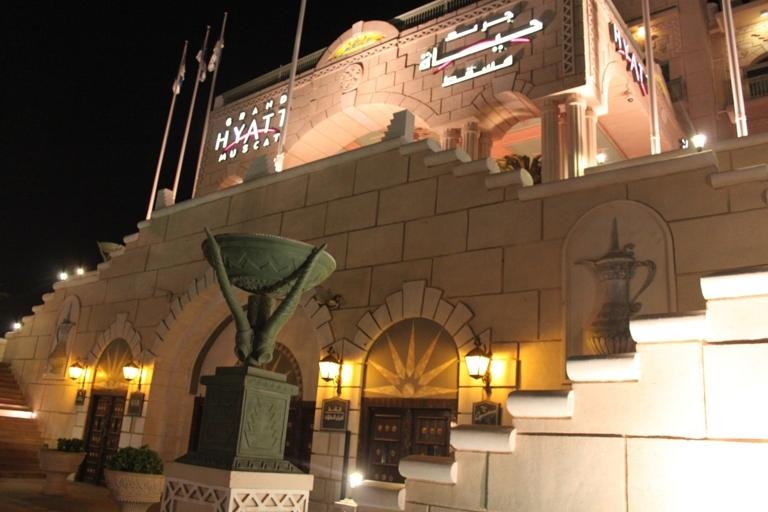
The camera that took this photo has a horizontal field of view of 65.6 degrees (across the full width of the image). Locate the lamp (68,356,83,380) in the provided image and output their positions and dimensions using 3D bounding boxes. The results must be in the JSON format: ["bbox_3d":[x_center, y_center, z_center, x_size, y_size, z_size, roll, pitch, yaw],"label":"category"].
[{"bbox_3d":[-9.831,3.602,19.022,0.451,0.623,0.318,-12,-24,34],"label":"lamp"}]

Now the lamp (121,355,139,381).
[{"bbox_3d":[-7.449,3.287,17.453,0.621,0.753,0.504,-11,-18,37],"label":"lamp"}]

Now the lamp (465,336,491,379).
[{"bbox_3d":[1.864,2.077,11.862,0.620,0.937,0.567,7,-10,-29],"label":"lamp"}]

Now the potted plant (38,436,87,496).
[{"bbox_3d":[-8.135,5.321,14.924,1.146,1.156,1.117,11,-10,-12],"label":"potted plant"}]
